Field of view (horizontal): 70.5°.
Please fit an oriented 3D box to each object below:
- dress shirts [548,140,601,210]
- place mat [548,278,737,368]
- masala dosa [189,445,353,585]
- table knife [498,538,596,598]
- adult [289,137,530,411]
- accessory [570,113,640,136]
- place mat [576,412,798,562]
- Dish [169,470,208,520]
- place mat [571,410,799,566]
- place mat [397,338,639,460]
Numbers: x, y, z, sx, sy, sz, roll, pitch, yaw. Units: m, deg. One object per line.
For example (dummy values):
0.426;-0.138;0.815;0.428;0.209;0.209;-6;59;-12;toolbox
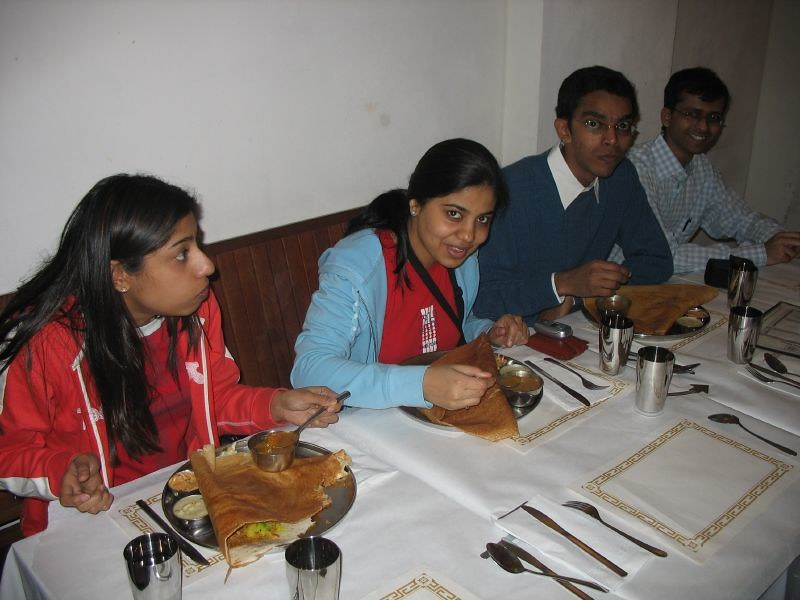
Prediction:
0.749;-0.532;2.435;0.224;0.265;0.068;-9;16;-8;dress shirts
0.973;0.050;2.090;0.395;0.085;0.277;16;29;37;place mat
-0.303;0.432;1.279;0.249;0.101;0.250;-9;29;-27;masala dosa
0.302;0.552;1.156;0.145;0.013;0.023;29;59;36;table knife
0.028;-0.074;1.964;0.544;0.883;0.673;31;44;20;adult
0.867;-0.714;2.319;0.261;0.096;0.105;-12;16;-19;accessory
0.693;0.434;1.344;0.348;0.004;0.220;-23;37;-33;place mat
-0.486;0.440;1.281;0.075;0.033;0.088;-5;61;-11;Dish
0.684;0.439;1.342;0.350;0.003;0.221;-25;40;-33;place mat
0.407;0.284;1.631;0.284;0.021;0.416;12;26;38;place mat
